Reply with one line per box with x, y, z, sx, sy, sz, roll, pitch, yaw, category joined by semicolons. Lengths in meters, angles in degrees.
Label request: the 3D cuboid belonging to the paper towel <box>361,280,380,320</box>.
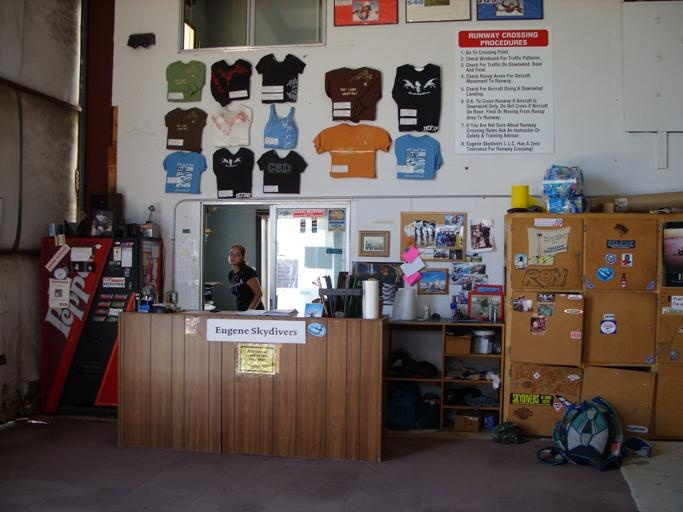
0.278;0.389;6.041;0.194;0.453;0.191;-4;-27;11;paper towel

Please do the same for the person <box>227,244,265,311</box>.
-1.127;0.275;7.392;0.372;0.760;0.685;-2;15;-10;person

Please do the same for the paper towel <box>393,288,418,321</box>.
0.706;0.527;6.988;0.318;0.427;0.327;1;-8;-1;paper towel
